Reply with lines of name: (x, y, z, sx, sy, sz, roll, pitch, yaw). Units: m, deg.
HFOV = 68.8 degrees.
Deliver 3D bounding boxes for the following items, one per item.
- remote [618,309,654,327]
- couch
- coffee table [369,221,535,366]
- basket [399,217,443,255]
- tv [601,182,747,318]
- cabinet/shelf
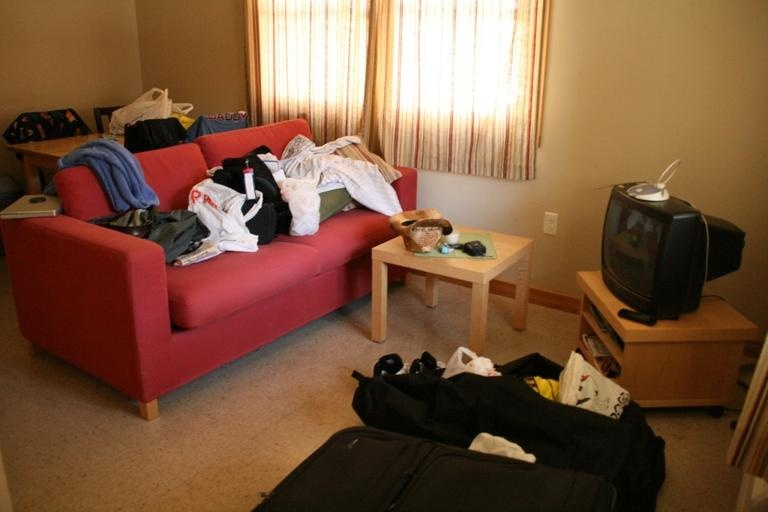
remote: (1.294, 0.315, 2.878, 0.129, 0.029, 0.074, 16, 35, 30)
couch: (-1.127, -0.006, 3.358, 1.806, 1.130, 1.100, -23, 32, -39)
coffee table: (0.433, 0.213, 3.602, 0.957, 0.587, 0.939, 6, 17, 15)
basket: (0.226, -0.136, 3.343, 0.223, 0.162, 0.187, -12, 23, -22)
tv: (1.437, -0.011, 3.117, 0.695, 0.650, 0.692, -14, 25, -3)
cabinet/shelf: (1.532, 0.450, 3.141, 0.665, 0.605, 0.829, -3, 20, -8)
